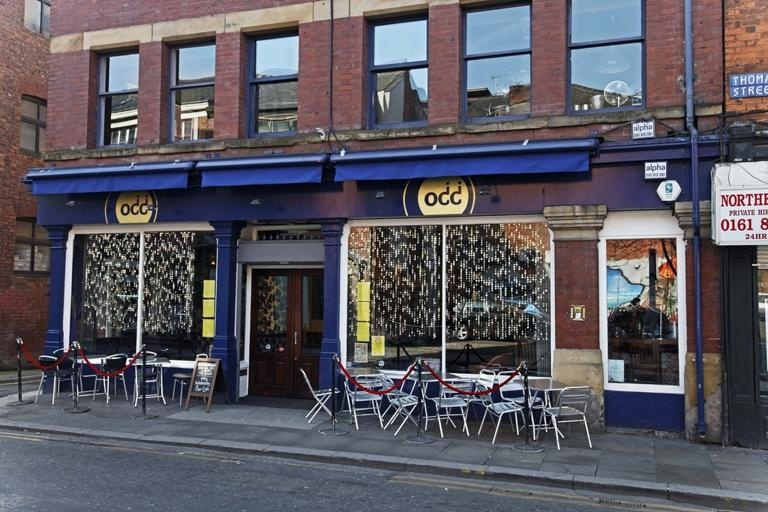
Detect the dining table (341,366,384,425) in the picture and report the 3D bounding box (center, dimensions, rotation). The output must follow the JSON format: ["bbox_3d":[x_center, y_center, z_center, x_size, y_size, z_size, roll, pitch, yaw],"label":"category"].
[{"bbox_3d":[-0.305,2.938,20.301,0.883,0.696,0.587,-18,-1,39],"label":"dining table"}]

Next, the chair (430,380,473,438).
[{"bbox_3d":[1.504,3.369,20.112,0.769,1.223,0.890,-2,0,-9],"label":"chair"}]

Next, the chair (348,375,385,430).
[{"bbox_3d":[-0.634,3.489,20.543,0.839,1.293,0.973,10,-19,-36],"label":"chair"}]

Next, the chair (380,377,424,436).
[{"bbox_3d":[0.398,3.427,20.316,1.152,1.504,0.900,2,-5,-21],"label":"chair"}]

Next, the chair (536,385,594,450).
[{"bbox_3d":[3.855,3.353,18.935,0.837,1.212,0.921,3,-4,-16],"label":"chair"}]

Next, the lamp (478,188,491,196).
[{"bbox_3d":[2.309,-1.458,20.457,0.308,0.160,0.222,-1,-8,42],"label":"lamp"}]

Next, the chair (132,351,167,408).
[{"bbox_3d":[-5.750,2.980,22.018,1.152,1.575,1.140,0,-1,-18],"label":"chair"}]

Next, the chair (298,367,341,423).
[{"bbox_3d":[-1.459,3.257,20.708,0.875,1.107,0.718,1,0,-7],"label":"chair"}]

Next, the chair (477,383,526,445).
[{"bbox_3d":[2.575,3.325,19.336,0.934,1.203,0.828,-3,6,-2],"label":"chair"}]

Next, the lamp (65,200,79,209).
[{"bbox_3d":[-8.077,-1.345,23.136,0.400,0.200,0.050,4,12,19],"label":"lamp"}]

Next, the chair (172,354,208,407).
[{"bbox_3d":[-4.660,3.052,21.769,0.755,1.113,0.648,-1,-11,32],"label":"chair"}]
